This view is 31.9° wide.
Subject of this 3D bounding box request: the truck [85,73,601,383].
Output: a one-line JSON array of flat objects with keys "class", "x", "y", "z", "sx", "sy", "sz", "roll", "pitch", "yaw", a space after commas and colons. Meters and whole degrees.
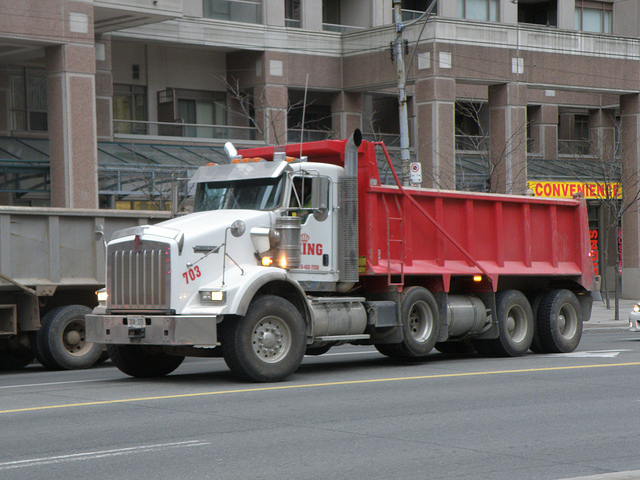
[{"class": "truck", "x": 1.175, "y": 0.617, "z": 24.320, "sx": 10.819, "sy": 4.589, "sz": 3.751, "roll": 1, "pitch": -7, "yaw": -35}]
